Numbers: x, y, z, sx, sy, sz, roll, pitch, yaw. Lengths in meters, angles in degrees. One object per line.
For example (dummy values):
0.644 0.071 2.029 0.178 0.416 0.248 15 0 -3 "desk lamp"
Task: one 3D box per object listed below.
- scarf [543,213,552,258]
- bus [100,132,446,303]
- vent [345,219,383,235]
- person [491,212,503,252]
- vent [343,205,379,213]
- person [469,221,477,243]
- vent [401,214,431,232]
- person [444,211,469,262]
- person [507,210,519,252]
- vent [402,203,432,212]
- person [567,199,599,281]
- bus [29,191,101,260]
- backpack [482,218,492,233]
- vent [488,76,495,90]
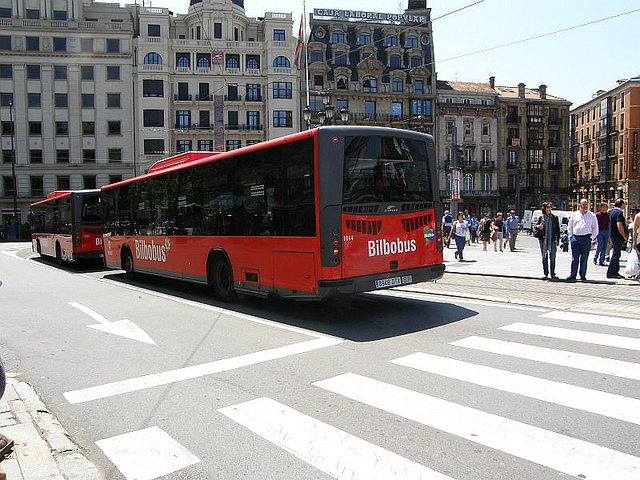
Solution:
5.846 -0.093 15.289 0.203 1.096 0.215 1 7 26 "scarf"
-2.576 -0.433 15.568 3.061 3.557 12.082 -3 2 -39 "bus"
0.781 -0.218 10.330 0.784 0.287 0.053 -6 8 -36 "vent"
7.977 -0.305 26.803 0.431 1.716 2.340 0 6 16 "person"
0.717 -0.519 10.283 0.754 0.140 0.026 -6 7 -33 "vent"
9.464 -0.583 36.495 0.335 1.226 1.963 0 6 15 "person"
1.767 -0.301 10.975 0.436 0.337 0.102 -14 9 -32 "vent"
5.010 -0.109 21.770 0.771 1.765 0.636 0 3 22 "person"
8.510 -0.335 26.285 0.411 1.785 1.165 0 6 16 "person"
1.821 -0.606 11.067 0.805 0.129 0.031 -7 8 -40 "vent"
6.597 0.013 14.968 0.657 2.038 0.983 2 7 28 "person"
-10.065 -0.632 24.801 2.099 2.832 6.557 -2 5 -37 "bus"
7.603 -0.679 27.128 0.346 0.640 0.598 4 14 9 "backpack"
20.876 -18.823 72.293 0.551 1.472 1.428 0 6 15 "vent"
